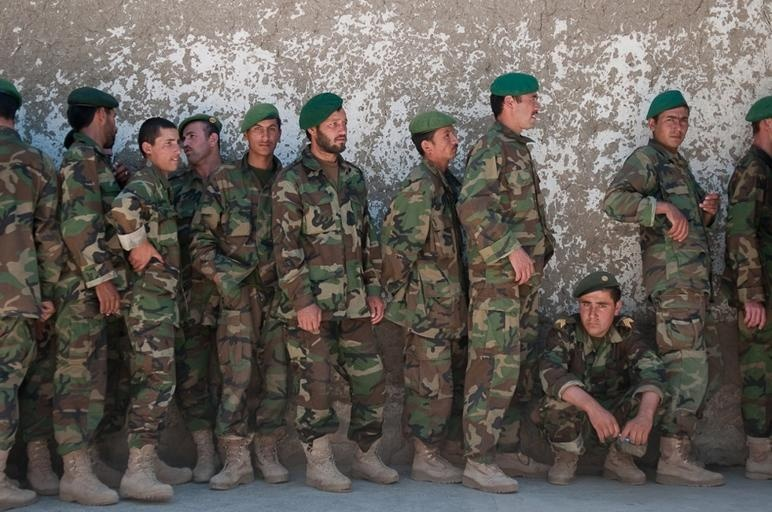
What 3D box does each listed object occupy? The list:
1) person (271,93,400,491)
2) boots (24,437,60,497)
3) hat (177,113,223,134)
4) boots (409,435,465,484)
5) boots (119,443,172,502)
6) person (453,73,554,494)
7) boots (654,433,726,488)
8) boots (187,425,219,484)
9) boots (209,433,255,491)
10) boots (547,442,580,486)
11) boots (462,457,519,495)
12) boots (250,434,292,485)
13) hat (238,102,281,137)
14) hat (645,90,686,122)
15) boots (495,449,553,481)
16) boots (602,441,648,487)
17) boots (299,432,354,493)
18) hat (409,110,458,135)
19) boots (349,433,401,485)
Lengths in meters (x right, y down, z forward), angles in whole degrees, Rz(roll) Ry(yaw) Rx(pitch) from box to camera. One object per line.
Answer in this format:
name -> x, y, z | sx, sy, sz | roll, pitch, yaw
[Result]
person -> -0.354, 0.226, 6.213 | 0.862, 2.615, 0.323 | 3, -5, -20
boots -> -2.255, 1.379, 6.077 | 0.165, 0.304, 0.464 | -4, 8, -36
hat -> -1.306, -0.947, 6.575 | 0.214, 0.062, 0.170 | 6, 1, 1
boots -> 0.407, 1.400, 6.173 | 0.473, 0.291, 0.176 | 1, -6, 7
boots -> -1.508, 1.368, 5.872 | 0.472, 0.331, 0.164 | -4, -11, 38
person -> 0.818, 0.151, 6.225 | 0.647, 2.776, 0.455 | 6, -7, -44
boots -> 2.086, 1.374, 6.139 | 0.596, 0.372, 0.216 | 0, -6, 6
boots -> -1.248, 1.371, 6.342 | 0.163, 0.355, 0.394 | -9, 2, -1
boots -> -1.009, 1.366, 6.178 | 0.204, 0.335, 0.360 | -1, -5, 27
boots -> 1.166, 1.402, 6.081 | 0.138, 0.138, 0.346 | 6, 0, 16
boots -> 0.676, 1.432, 5.992 | 0.334, 0.133, 0.169 | 0, -3, 29
boots -> -0.786, 1.368, 6.284 | 0.162, 0.296, 0.446 | 0, 2, -28
hat -> -0.856, -0.941, 6.390 | 0.261, 0.132, 0.176 | -22, 7, -4
hat -> 1.954, -1.062, 6.496 | 0.181, 0.119, 0.245 | 2, -22, -45
boots -> 0.920, 1.427, 6.312 | 0.458, 0.180, 0.143 | 1, 10, -2
boots -> 1.614, 1.379, 6.207 | 0.146, 0.279, 0.401 | 8, -4, -19
boots -> -0.398, 1.361, 6.119 | 0.186, 0.342, 0.519 | -4, 5, -35
hat -> 0.318, -0.920, 6.397 | 0.218, 0.071, 0.197 | -15, 7, -17
boots -> -0.073, 1.383, 6.206 | 0.374, 0.258, 0.127 | 3, 0, 43
